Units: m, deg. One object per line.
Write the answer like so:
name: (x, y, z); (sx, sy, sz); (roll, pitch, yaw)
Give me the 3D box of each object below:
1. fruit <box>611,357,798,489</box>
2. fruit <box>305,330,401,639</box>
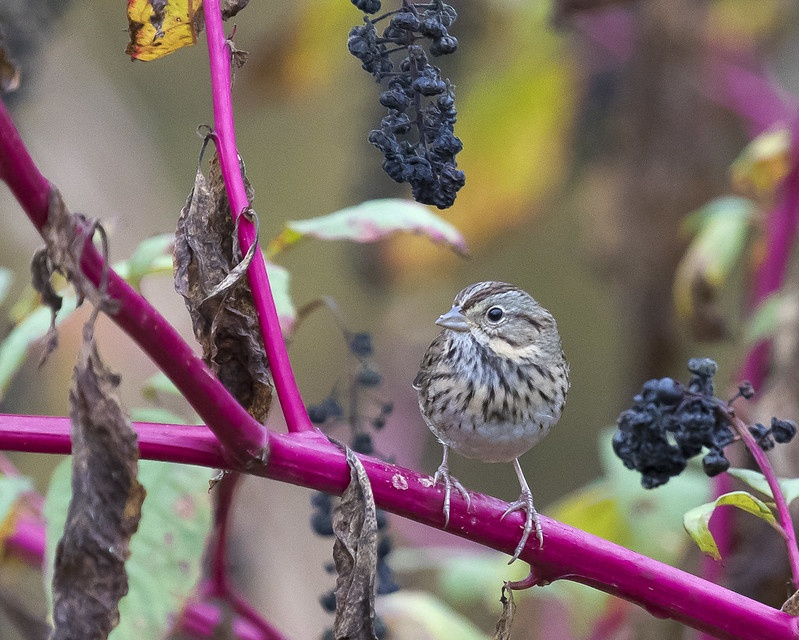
fruit: (0.536, 0.168, 1.807); (0.306, 0.264, 0.182); (3, 5, 10)
fruit: (-0.113, 0.394, 2.428); (0.232, 0.796, 0.515); (3, -11, -1)
